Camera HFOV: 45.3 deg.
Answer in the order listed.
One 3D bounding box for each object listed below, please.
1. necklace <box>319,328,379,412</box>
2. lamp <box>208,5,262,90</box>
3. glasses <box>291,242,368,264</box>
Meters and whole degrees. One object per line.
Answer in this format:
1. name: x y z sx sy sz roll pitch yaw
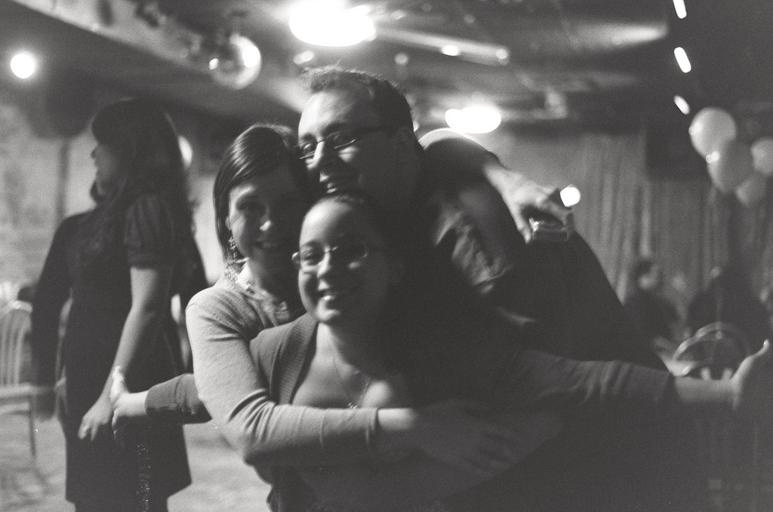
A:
1. necklace: -0.126 0.395 3.035 0.067 0.282 0.159 -34 -8 34
2. lamp: -0.498 -0.689 3.040 0.187 0.248 0.067 7 11 16
3. glasses: -0.161 -0.013 2.952 0.117 0.029 0.113 -12 -18 4
